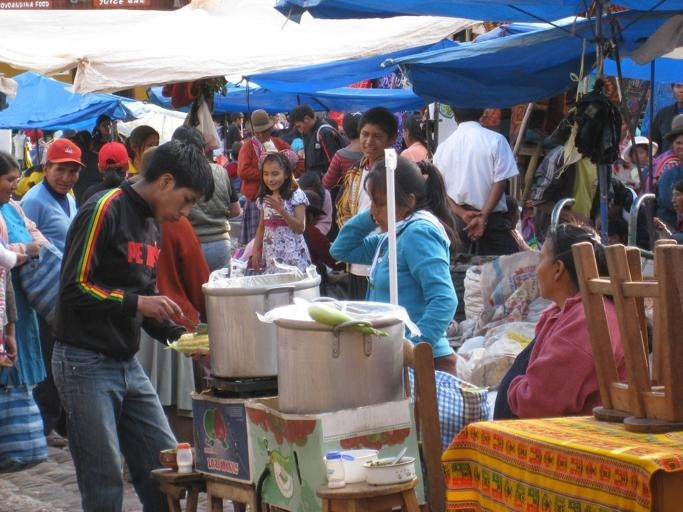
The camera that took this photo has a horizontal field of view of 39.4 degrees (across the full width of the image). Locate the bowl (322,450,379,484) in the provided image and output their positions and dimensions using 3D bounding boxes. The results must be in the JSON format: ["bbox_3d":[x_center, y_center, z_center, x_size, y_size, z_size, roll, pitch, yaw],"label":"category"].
[{"bbox_3d":[0.060,0.962,4.477,0.221,0.156,0.224,0,-2,0],"label":"bowl"}]

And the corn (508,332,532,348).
[{"bbox_3d":[1.297,0.603,6.952,0.111,0.043,0.115,16,10,35],"label":"corn"}]

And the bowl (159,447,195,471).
[{"bbox_3d":[-0.900,1.107,5.222,0.129,0.120,0.161,-2,-9,21],"label":"bowl"}]

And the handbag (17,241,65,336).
[{"bbox_3d":[-2.260,0.225,7.102,0.296,0.693,0.300,-3,13,-5],"label":"handbag"}]

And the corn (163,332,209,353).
[{"bbox_3d":[-0.819,0.471,5.115,0.190,0.073,0.120,3,29,9],"label":"corn"}]

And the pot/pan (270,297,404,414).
[{"bbox_3d":[-0.015,0.447,4.638,0.540,0.550,0.797,20,16,38],"label":"pot/pan"}]

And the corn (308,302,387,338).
[{"bbox_3d":[-0.016,0.245,4.453,0.270,0.165,0.421,6,12,38],"label":"corn"}]
